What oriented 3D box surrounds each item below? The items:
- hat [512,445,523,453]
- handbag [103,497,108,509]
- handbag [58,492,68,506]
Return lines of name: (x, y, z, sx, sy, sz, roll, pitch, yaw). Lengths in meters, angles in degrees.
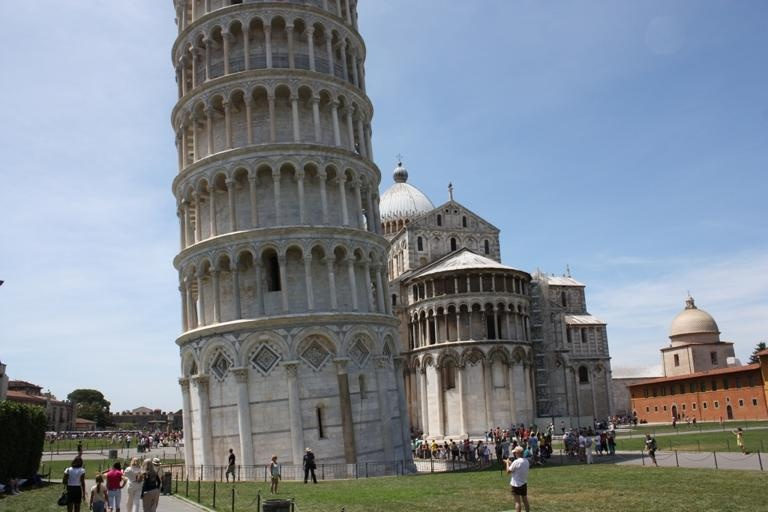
hat: (6.892, 9.861, 38.110, 0.473, 0.327, 0.704, -7, -18, 6)
handbag: (-14.906, 13.277, 40.068, 0.158, 0.530, 1.666, 2, -19, -20)
handbag: (-17.212, 13.003, 40.142, 0.418, 0.595, 0.443, 3, -20, -25)
